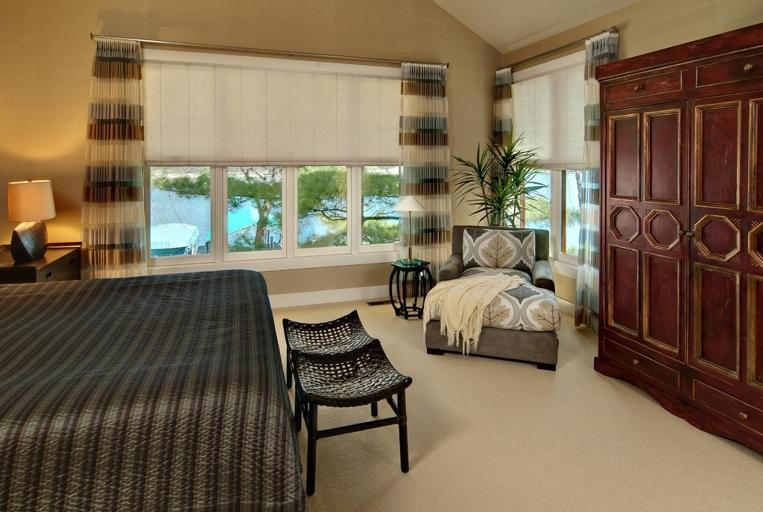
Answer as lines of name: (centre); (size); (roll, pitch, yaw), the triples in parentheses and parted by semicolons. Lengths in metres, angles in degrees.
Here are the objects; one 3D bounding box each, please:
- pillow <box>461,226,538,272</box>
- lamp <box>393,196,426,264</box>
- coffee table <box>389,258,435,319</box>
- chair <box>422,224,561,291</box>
pillow: (1.234, -0.062, 5.401); (0.753, 0.478, 0.227); (1, 4, 13)
lamp: (0.329, -0.317, 5.895); (0.292, 0.767, 0.731); (-2, 10, 4)
coffee table: (0.337, 0.377, 5.829); (0.489, 0.600, 0.536); (1, 7, 9)
chair: (1.173, 0.168, 5.269); (1.098, 0.771, 0.800); (5, 17, 16)
